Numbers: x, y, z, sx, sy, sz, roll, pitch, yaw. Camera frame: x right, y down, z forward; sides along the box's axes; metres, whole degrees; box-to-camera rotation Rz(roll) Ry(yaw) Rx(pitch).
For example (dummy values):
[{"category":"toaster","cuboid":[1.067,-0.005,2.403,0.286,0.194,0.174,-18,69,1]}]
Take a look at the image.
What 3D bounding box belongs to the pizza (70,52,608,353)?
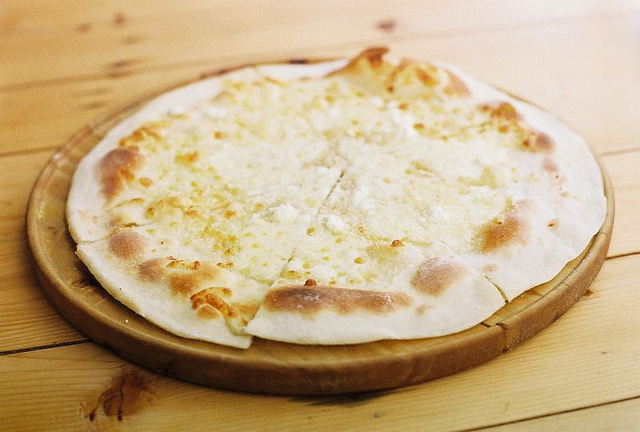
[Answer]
[{"category":"pizza","cuboid":[0.053,-0.092,1.635,1.301,0.124,0.682,-5,85,-25]}]
